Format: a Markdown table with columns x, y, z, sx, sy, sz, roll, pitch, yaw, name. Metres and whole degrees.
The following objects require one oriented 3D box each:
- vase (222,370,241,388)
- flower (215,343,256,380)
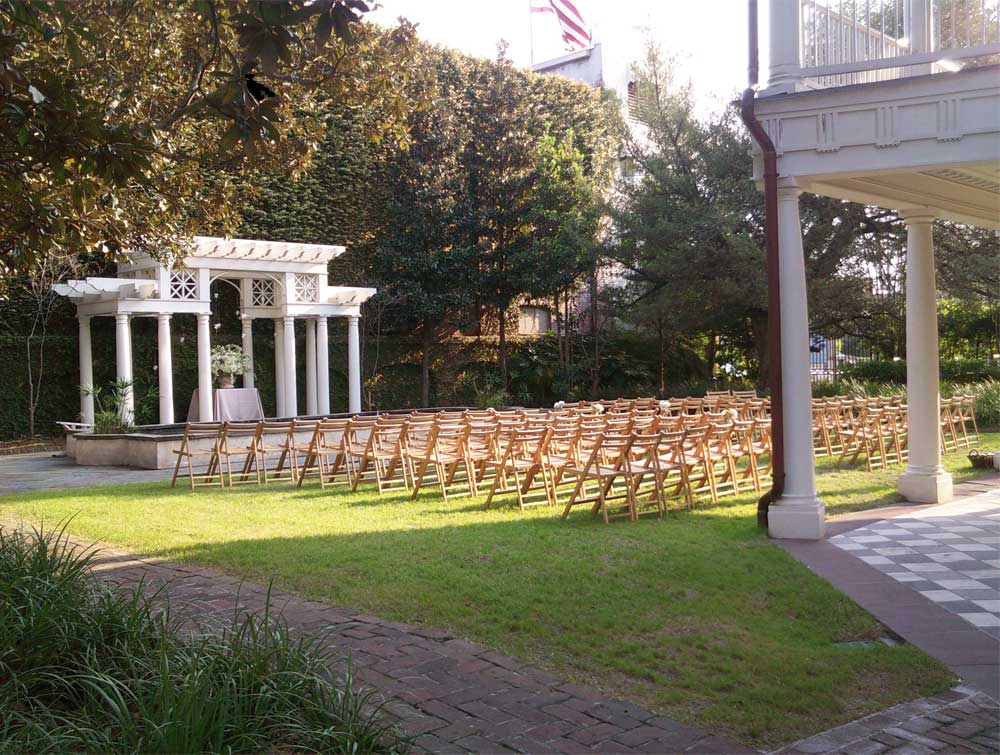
| x | y | z | sx | sy | sz | roll | pitch | yaw | name |
| --- | --- | --- | --- | --- | --- | --- | --- | --- | --- |
| -6.177 | 0.051 | 19.810 | 0.406 | 0.359 | 0.413 | 3 | -3 | -7 | vase |
| -6.062 | -0.356 | 19.509 | 1.276 | 0.819 | 1.020 | 2 | -1 | -6 | flower |
